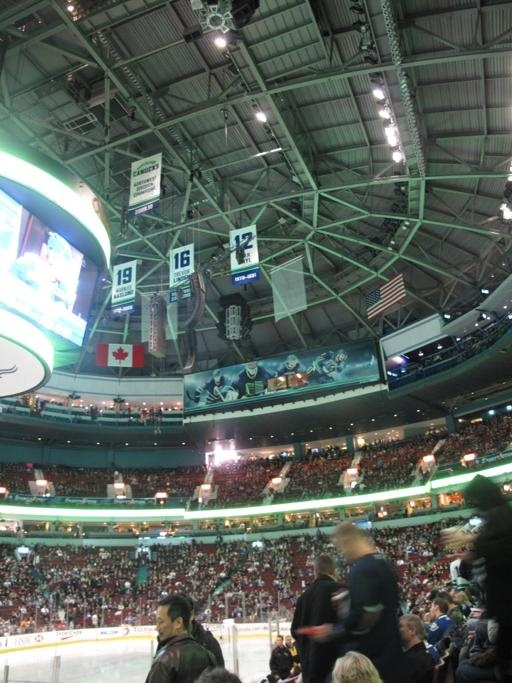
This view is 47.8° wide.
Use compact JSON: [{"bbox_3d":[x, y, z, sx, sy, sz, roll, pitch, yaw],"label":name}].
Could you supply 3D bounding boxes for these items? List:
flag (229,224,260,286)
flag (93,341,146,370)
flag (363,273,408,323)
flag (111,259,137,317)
[{"bbox_3d":[-0.441,-3.115,20.586,1.141,2.157,0.863,-10,-23,21],"label":"flag"},{"bbox_3d":[-8.139,0.713,34.582,2.413,1.264,0.098,0,-8,-1],"label":"flag"},{"bbox_3d":[7.086,-2.539,31.909,0.291,1.744,2.596,26,-45,-24],"label":"flag"},{"bbox_3d":[-5.036,-2.165,22.265,1.202,2.156,0.531,-14,-25,29],"label":"flag"}]
